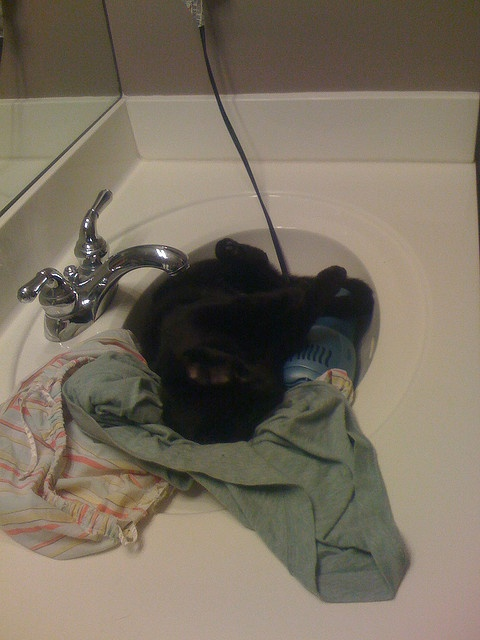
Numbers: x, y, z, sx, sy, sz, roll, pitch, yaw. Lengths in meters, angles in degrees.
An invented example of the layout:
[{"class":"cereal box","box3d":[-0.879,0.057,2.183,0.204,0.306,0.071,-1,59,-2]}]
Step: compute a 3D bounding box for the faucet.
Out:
[{"class":"faucet","box3d":[-0.175,-0.066,0.899,0.202,0.068,0.062,-5,-16,-34]}]
